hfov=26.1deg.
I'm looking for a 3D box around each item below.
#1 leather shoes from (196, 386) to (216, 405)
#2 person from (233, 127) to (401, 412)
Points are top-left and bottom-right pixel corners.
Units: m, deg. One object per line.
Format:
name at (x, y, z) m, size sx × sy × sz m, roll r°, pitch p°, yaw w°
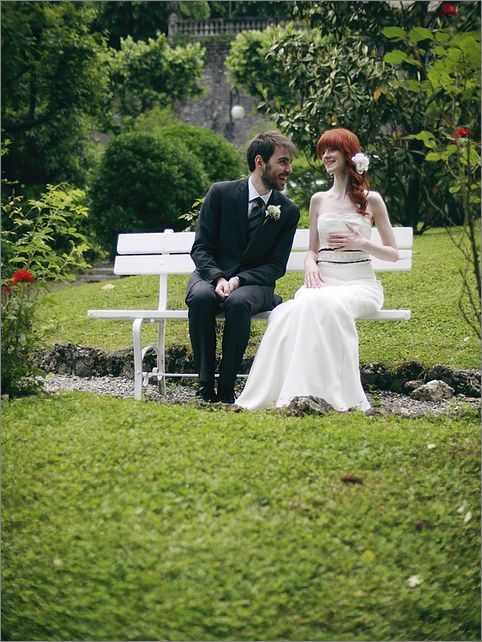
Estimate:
leather shoes at (-0.161, 0.338, 4.726) m, size 0.094 × 0.081 × 0.271 m, roll -2°, pitch 12°, yaw -2°
person at (0.375, -0.277, 4.877) m, size 0.690 × 1.194 × 1.325 m, roll 0°, pitch 12°, yaw 10°
